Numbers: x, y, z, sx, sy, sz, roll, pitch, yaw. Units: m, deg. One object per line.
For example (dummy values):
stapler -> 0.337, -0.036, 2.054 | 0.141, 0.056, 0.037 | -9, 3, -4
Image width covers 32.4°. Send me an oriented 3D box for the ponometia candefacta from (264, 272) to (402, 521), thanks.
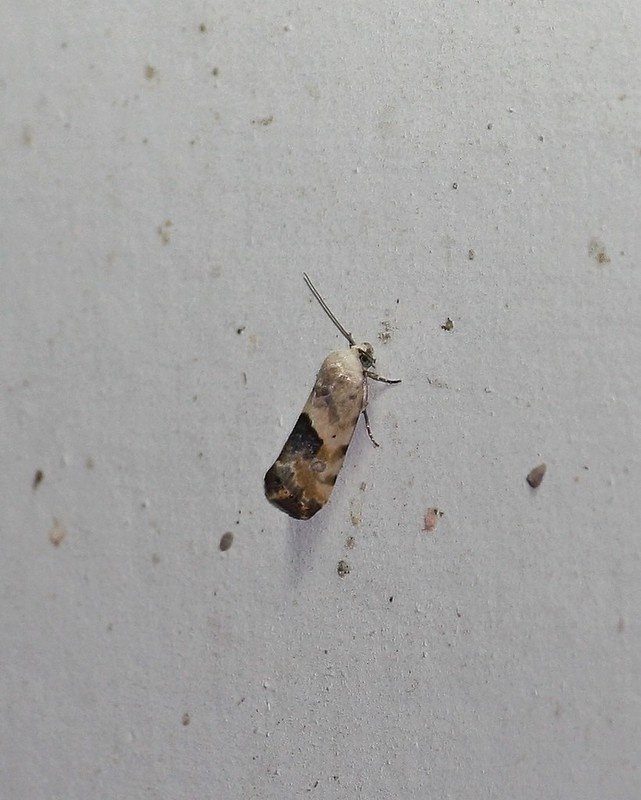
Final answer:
ponometia candefacta -> 0.022, 0.057, 2.191 | 0.247, 0.085, 0.328 | 38, 108, 25
